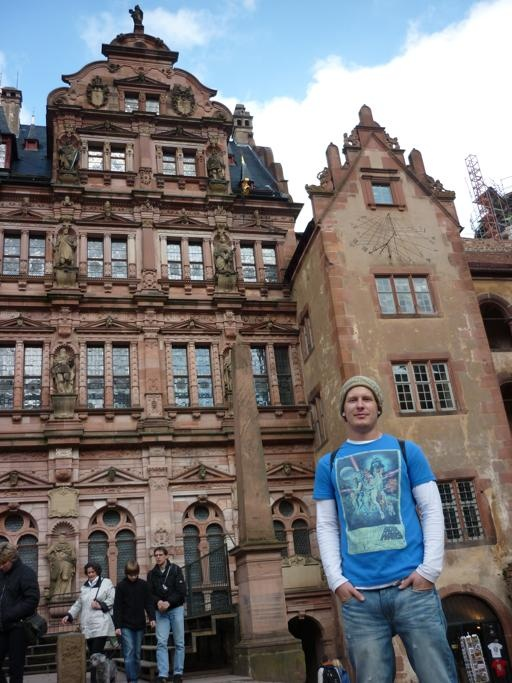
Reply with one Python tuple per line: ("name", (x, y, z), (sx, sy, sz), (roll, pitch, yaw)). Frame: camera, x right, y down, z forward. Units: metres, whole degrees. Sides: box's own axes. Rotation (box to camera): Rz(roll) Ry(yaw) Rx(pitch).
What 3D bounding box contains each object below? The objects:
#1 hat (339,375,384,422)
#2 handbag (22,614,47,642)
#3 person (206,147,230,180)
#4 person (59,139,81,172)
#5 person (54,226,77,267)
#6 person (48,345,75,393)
("hat", (0.593, 0.294, 3.383), (0.248, 0.212, 0.238), (0, -24, 12))
("handbag", (-2.450, 3.164, 6.685), (0.220, 0.268, 0.670), (1, -22, -20))
("person", (-1.671, -7.465, 25.561), (0.860, 1.961, 0.340), (3, -24, -24))
("person", (-7.427, -7.369, 23.991), (0.790, 1.897, 0.499), (0, -23, -17))
("person", (-7.047, -3.525, 22.321), (0.805, 2.068, 0.480), (0, -23, -18))
("person", (-6.542, 0.963, 20.437), (0.732, 1.920, 0.503), (2, -23, -22))
